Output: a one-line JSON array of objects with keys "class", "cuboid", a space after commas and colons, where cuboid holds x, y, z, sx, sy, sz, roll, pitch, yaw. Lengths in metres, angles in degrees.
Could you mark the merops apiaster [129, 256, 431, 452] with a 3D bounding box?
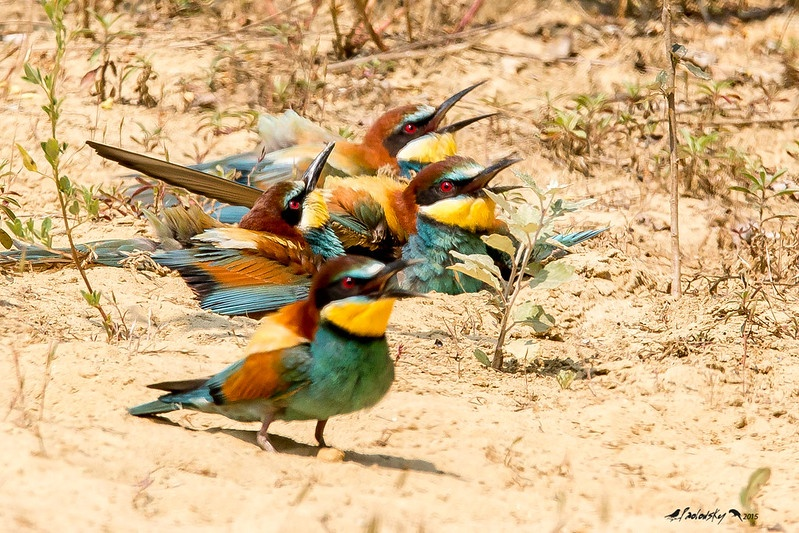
[{"class": "merops apiaster", "cuboid": [-0.466, 0.387, 4.248, 1.017, 0.831, 0.468, -8, 41, -20]}]
